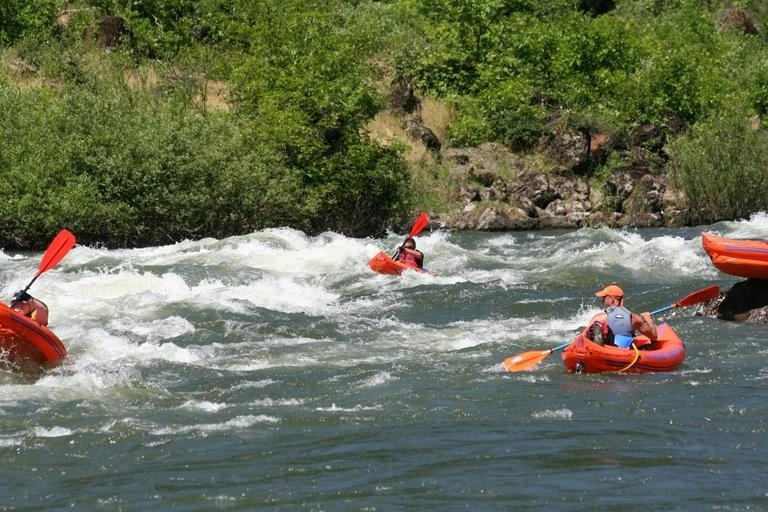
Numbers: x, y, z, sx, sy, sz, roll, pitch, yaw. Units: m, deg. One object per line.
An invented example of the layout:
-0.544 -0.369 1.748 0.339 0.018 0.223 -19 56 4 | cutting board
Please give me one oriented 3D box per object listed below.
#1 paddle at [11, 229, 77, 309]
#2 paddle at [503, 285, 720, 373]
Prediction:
-9.933 0.186 42.662 3.195 0.735 0.353 -46 9 -27 | paddle
5.958 2.706 41.962 5.829 0.534 0.359 -3 -29 -34 | paddle
